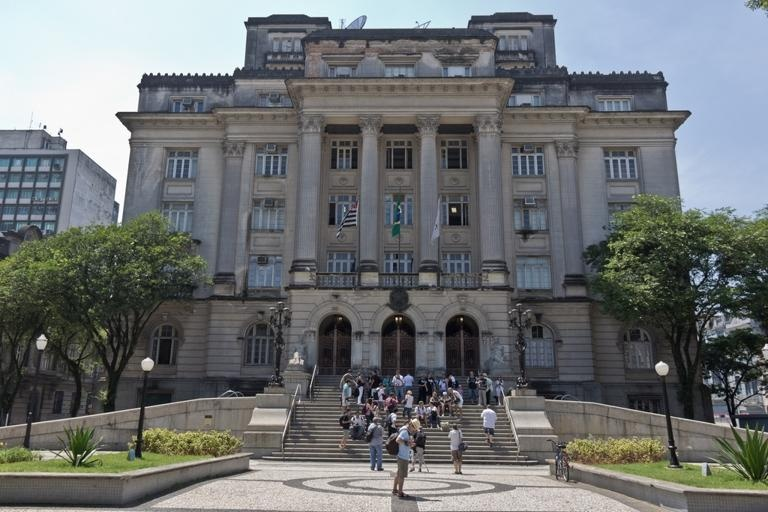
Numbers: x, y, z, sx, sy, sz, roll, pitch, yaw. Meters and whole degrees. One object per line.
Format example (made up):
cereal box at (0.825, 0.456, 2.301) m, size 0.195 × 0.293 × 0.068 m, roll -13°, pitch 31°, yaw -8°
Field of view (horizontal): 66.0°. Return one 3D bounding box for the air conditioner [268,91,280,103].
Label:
air conditioner at (-10.064, -14.354, 53.974) m, size 0.910 × 0.819 × 0.873 m, roll -1°, pitch -7°, yaw 2°

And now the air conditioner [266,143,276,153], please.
air conditioner at (-10.096, -9.565, 52.651) m, size 1.036 × 0.948 × 0.735 m, roll 0°, pitch -12°, yaw -4°

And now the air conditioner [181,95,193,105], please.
air conditioner at (-18.391, -14.365, 55.108) m, size 0.893 × 0.666 × 0.835 m, roll 1°, pitch 0°, yaw -31°

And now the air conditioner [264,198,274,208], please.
air conditioner at (-10.105, -4.627, 51.921) m, size 1.240 × 0.965 × 0.645 m, roll 1°, pitch -11°, yaw -7°

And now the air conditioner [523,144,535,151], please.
air conditioner at (12.846, -9.452, 52.544) m, size 1.075 × 0.863 × 0.545 m, roll 0°, pitch -21°, yaw 4°

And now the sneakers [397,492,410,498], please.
sneakers at (0.787, 9.233, 22.904) m, size 0.502 × 0.204 × 0.183 m, roll 28°, pitch -33°, yaw -34°

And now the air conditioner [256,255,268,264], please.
air conditioner at (-10.498, 0.331, 50.943) m, size 0.780 × 0.546 × 0.767 m, roll 0°, pitch -5°, yaw -6°

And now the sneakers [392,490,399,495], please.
sneakers at (0.417, 9.152, 23.002) m, size 0.205 × 0.160 × 0.276 m, roll 2°, pitch -13°, yaw -7°

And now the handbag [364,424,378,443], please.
handbag at (-0.482, 8.270, 27.685) m, size 0.891 × 0.771 × 0.544 m, roll 6°, pitch 2°, yaw -1°

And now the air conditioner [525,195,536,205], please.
air conditioner at (12.687, -4.789, 51.531) m, size 1.091 × 0.728 × 0.665 m, roll 0°, pitch -9°, yaw 3°
